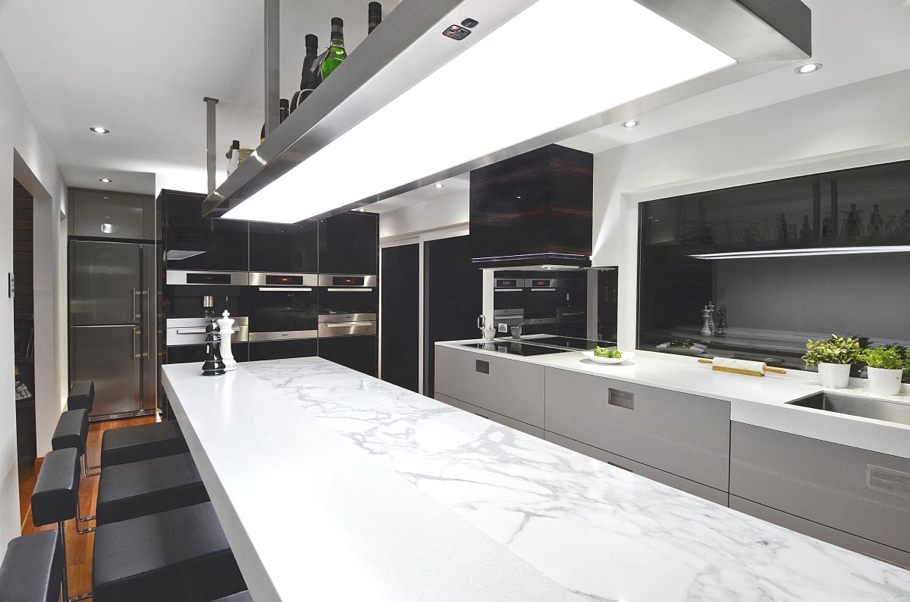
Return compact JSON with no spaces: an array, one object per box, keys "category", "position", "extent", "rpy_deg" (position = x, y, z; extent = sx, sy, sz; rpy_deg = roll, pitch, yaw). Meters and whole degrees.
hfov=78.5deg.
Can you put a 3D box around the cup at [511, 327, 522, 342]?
[{"category":"cup","position":[0.555,0.293,5.004],"extent":[0.111,0.128,0.110],"rpy_deg":[2,-5,0]}]

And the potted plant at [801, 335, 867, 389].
[{"category":"potted plant","position":[2.256,0.331,3.336],"extent":[0.355,0.319,0.324],"rpy_deg":[1,1,-24]}]
